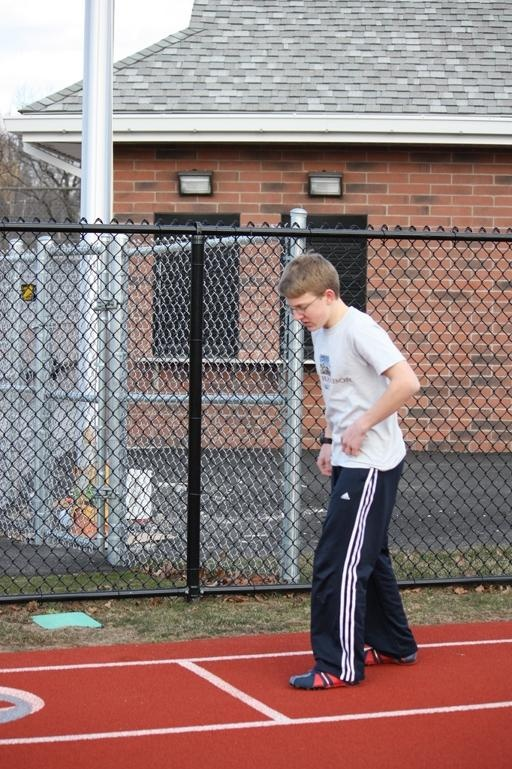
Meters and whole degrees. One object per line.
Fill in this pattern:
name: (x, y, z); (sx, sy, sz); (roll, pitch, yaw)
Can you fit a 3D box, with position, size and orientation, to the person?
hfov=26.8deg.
person: (0.381, 0.391, 4.660); (0.579, 1.886, 0.563); (1, 8, 4)
